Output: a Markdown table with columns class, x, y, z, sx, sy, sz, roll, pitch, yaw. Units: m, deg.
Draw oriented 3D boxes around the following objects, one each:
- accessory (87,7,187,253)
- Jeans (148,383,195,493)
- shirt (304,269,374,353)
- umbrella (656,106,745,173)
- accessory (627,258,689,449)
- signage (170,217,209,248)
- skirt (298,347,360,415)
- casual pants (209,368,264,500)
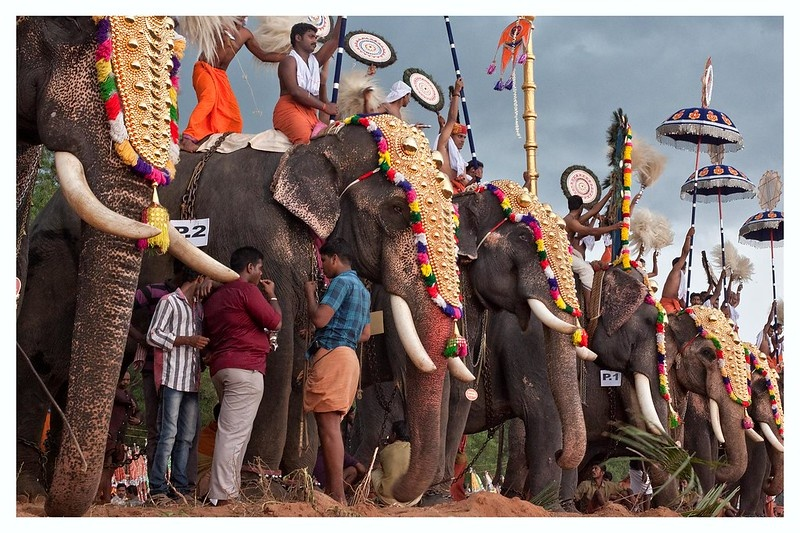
| class | x | y | z | sx | sy | sz | roll | pitch | yaw |
| --- | --- | --- | --- | --- | --- | --- | --- | --- | --- |
| accessory | -1.602 | -0.859 | 5.188 | 0.600 | 1.486 | 0.212 | 12 | -10 | -30 |
| Jeans | -1.689 | 1.265 | 6.571 | 0.300 | 0.959 | 0.236 | 0 | 7 | -35 |
| shirt | -0.479 | 0.322 | 6.479 | 0.314 | 0.532 | 0.453 | 4 | -26 | 24 |
| umbrella | 4.420 | -1.815 | 12.792 | 1.091 | 0.889 | 1.049 | 19 | -8 | -38 |
| accessory | 2.908 | 1.090 | 9.845 | 0.328 | 2.408 | 0.378 | -21 | -21 | 39 |
| signage | -1.524 | -0.243 | 6.329 | 0.335 | 0.232 | 0.021 | 3 | -37 | -3 |
| skirt | -0.475 | 0.843 | 6.466 | 0.336 | 0.535 | 0.416 | 4 | -3 | 7 |
| casual pants | -1.193 | 1.151 | 6.235 | 0.340 | 0.945 | 0.410 | 11 | -18 | -26 |
